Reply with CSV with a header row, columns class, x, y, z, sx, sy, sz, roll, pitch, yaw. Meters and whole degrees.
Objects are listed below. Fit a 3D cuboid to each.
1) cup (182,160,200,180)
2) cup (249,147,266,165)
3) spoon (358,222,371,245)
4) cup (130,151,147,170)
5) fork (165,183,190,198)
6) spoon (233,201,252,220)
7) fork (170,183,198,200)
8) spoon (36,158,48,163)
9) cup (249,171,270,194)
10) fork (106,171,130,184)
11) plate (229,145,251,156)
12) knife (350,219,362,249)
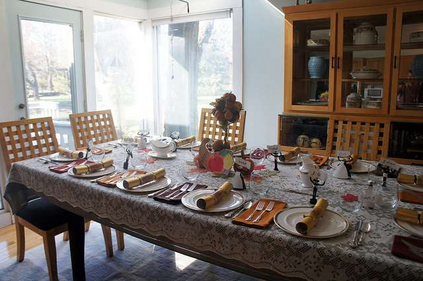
class,x,y,z,sx,sy,sz,roll,pitch,yaw
cup,-0.148,0.200,2.093,0.146,0.165,0.147,0,5,0
cup,0.348,0.120,2.311,0.139,0.148,0.139,0,-1,0
spoon,0.834,0.498,1.549,0.050,0.032,0.245,0,25,31
cup,-0.616,0.157,2.350,0.148,0.143,0.144,0,11,0
fork,-0.223,0.331,1.913,0.052,0.031,0.224,7,18,22
spoon,0.197,0.412,1.736,0.047,0.030,0.238,17,26,26
fork,-0.179,0.335,1.912,0.053,0.033,0.294,14,23,28
spoon,-1.475,0.172,2.453,0.100,0.027,0.056,22,23,39
cup,0.318,0.263,1.848,0.142,0.140,0.142,-3,6,0
fork,-0.690,0.266,2.095,0.050,0.015,0.169,12,15,16
plate,0.260,0.089,2.653,0.064,0.073,0.258,-16,-5,41
knife,0.790,0.482,1.534,0.049,0.019,0.245,2,22,26
